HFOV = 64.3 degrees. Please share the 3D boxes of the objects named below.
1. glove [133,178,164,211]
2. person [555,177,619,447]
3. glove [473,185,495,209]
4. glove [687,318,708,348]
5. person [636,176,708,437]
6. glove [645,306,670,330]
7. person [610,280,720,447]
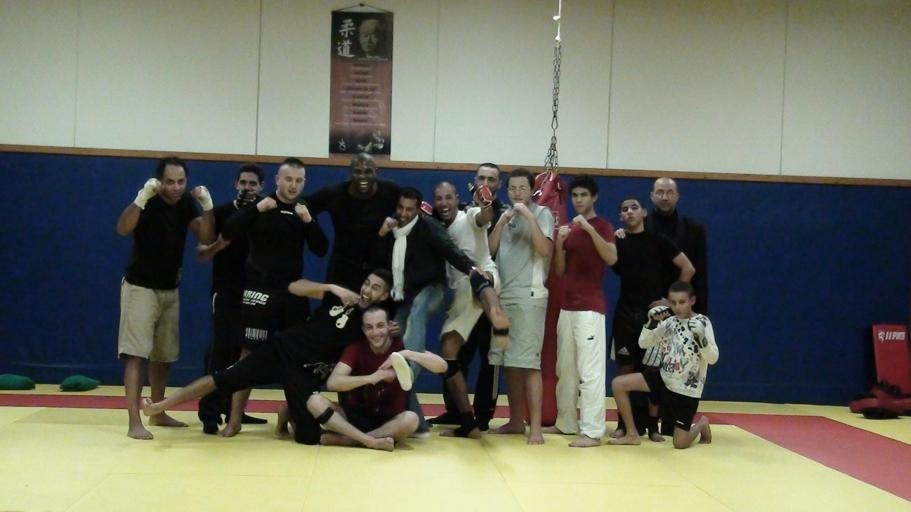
[{"bbox_3d":[-3.519,-0.712,8.288,0.284,0.330,0.112,0,4,-21],"label":"glove"},{"bbox_3d":[1.505,0.616,8.635,0.708,3.149,0.773,2,4,14],"label":"person"},{"bbox_3d":[0.326,-0.717,8.477,0.252,0.237,0.080,16,-39,-34],"label":"glove"},{"bbox_3d":[2.774,0.892,8.341,0.229,0.301,0.146,-3,-1,24],"label":"glove"},{"bbox_3d":[2.721,0.585,9.130,1.086,3.145,0.879,-4,-3,12],"label":"person"},{"bbox_3d":[2.377,0.730,8.540,0.243,0.137,0.299,-33,-9,-4],"label":"glove"},{"bbox_3d":[2.489,1.267,8.571,1.082,1.944,0.529,2,4,15],"label":"person"}]
